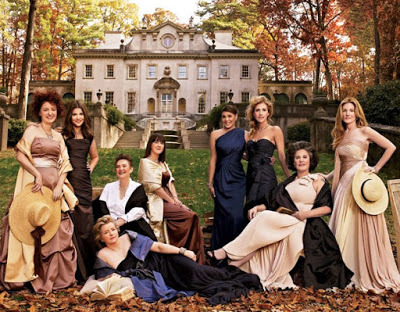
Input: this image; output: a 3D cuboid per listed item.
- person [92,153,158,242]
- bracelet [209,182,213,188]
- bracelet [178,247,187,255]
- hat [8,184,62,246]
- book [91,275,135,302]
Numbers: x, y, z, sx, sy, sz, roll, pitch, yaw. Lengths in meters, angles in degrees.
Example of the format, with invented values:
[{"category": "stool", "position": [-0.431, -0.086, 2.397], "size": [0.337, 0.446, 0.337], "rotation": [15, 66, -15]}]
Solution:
[{"category": "person", "position": [-1.354, 0.698, 6.470], "size": [1.115, 1.470, 0.930], "rotation": [0, 5, 3]}, {"category": "bracelet", "position": [0.189, 0.496, 7.029], "size": [0.065, 0.072, 0.071], "rotation": [-1, -5, 6]}, {"category": "bracelet", "position": [-0.260, 1.376, 5.881], "size": [0.069, 0.108, 0.114], "rotation": [4, 2, 19]}, {"category": "hat", "position": [-2.394, 0.818, 5.903], "size": [0.222, 0.855, 0.913], "rotation": [-8, -19, 33]}, {"category": "book", "position": [-1.182, 1.777, 5.467], "size": [0.439, 0.180, 0.460], "rotation": [6, 5, 17]}]
